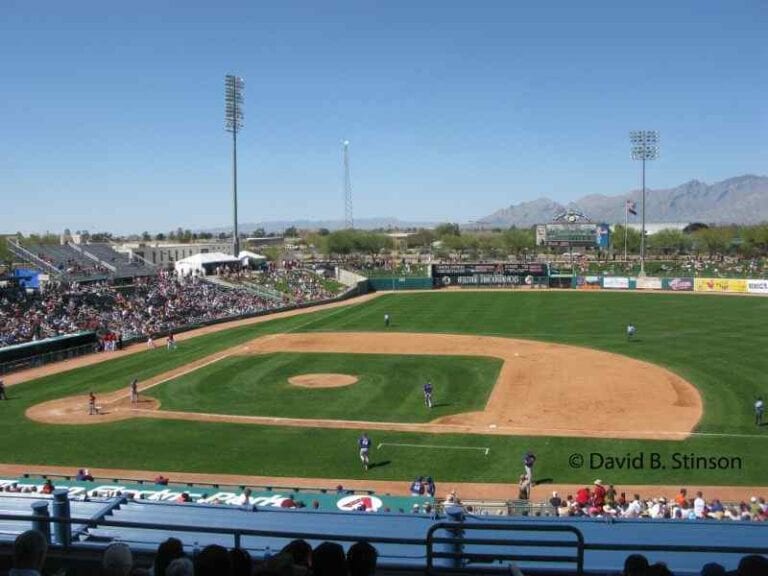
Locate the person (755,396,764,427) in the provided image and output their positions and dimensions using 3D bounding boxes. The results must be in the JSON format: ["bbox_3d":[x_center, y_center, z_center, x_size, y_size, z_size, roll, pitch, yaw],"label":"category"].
[{"bbox_3d":[19.474,6.163,52.047,0.437,1.255,2.872,-1,3,21],"label":"person"}]

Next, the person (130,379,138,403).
[{"bbox_3d":[-14.003,5.709,56.734,0.423,1.216,1.168,-3,3,-14],"label":"person"}]

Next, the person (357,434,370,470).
[{"bbox_3d":[-0.859,7.603,48.134,0.519,1.670,1.533,-2,3,-3],"label":"person"}]
